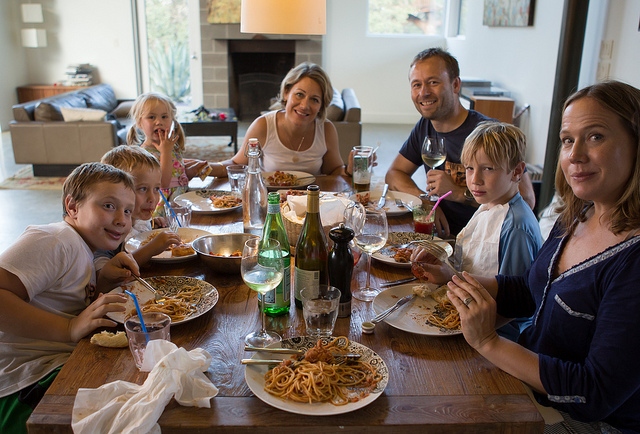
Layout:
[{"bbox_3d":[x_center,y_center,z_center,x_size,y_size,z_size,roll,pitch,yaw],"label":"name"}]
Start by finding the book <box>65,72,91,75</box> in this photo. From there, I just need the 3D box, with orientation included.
[{"bbox_3d":[-4.147,-2.485,7.888,0.151,0.037,0.151,2,13,8],"label":"book"}]

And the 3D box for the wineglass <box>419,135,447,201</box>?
[{"bbox_3d":[0.628,-0.283,2.559,0.129,0.355,0.401,3,18,12],"label":"wineglass"}]

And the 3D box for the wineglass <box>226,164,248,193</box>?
[{"bbox_3d":[-0.464,-0.220,2.603,0.103,0.139,0.247,-5,18,-10],"label":"wineglass"}]

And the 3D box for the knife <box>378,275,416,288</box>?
[{"bbox_3d":[0.296,0.251,1.754,0.212,0.030,0.011,-9,-3,-7],"label":"knife"}]

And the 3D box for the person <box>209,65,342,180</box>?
[{"bbox_3d":[-0.289,-0.589,2.934,0.616,0.717,1.032,15,24,41],"label":"person"}]

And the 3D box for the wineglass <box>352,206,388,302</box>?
[{"bbox_3d":[0.186,0.117,1.734,0.124,0.301,0.316,0,18,4],"label":"wineglass"}]

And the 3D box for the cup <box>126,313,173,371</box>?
[{"bbox_3d":[-0.492,0.357,1.333,0.155,0.144,0.167,-1,-4,0],"label":"cup"}]

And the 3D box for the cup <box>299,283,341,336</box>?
[{"bbox_3d":[0.004,0.301,1.464,0.119,0.158,0.109,-1,18,0],"label":"cup"}]

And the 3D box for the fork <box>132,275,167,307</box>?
[{"bbox_3d":[-0.595,0.259,1.604,0.061,0.013,0.179,-39,56,-21],"label":"fork"}]

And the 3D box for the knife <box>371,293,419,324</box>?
[{"bbox_3d":[0.277,0.306,1.619,0.054,0.019,0.340,30,24,27],"label":"knife"}]

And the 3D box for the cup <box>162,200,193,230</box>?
[{"bbox_3d":[-0.664,0.005,2.182,0.147,0.164,0.145,-4,7,0],"label":"cup"}]
